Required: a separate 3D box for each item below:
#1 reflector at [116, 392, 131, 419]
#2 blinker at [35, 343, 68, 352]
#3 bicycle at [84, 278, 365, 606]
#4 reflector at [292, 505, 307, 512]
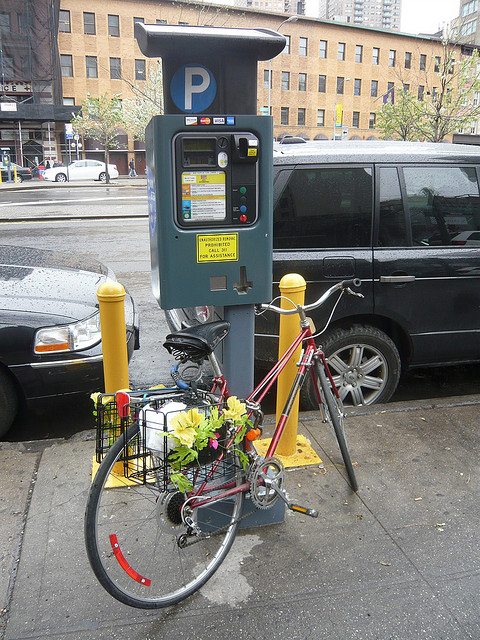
[{"bbox_3d":[-0.403,0.293,1.740,0.048,0.078,0.090,-2,13,-15],"label":"reflector"},{"bbox_3d":[-1.201,0.178,3.207,0.198,0.045,0.016,-8,15,-34],"label":"blinker"},{"bbox_3d":[0.098,0.434,2.121,1.600,1.144,0.679,-7,-1,-40],"label":"bicycle"},{"bbox_3d":[0.261,0.813,2.173,0.043,0.012,0.028,27,-4,19],"label":"reflector"}]
